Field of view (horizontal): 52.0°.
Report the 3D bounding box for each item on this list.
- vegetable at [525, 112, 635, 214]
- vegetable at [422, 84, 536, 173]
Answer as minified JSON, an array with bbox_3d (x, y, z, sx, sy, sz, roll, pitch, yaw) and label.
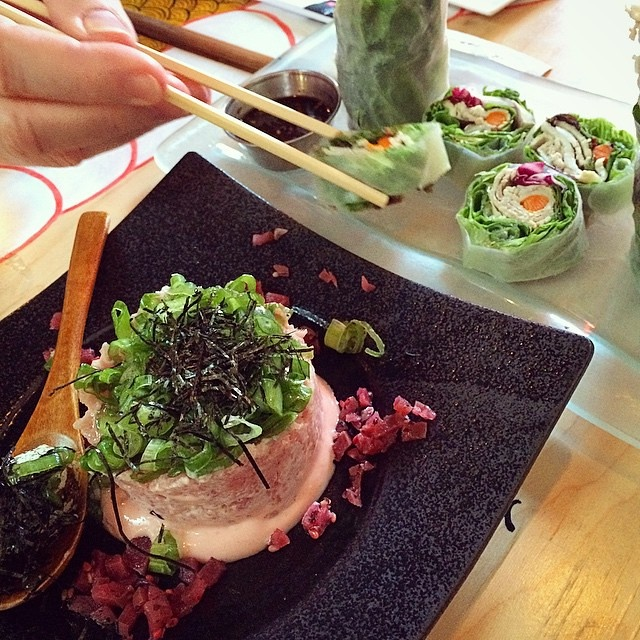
[{"bbox_3d":[0.696,-0.426,1.792,0.300,0.134,0.268,-9,58,-2],"label":"vegetable"},{"bbox_3d":[0.491,-0.547,1.861,0.263,0.176,0.123,10,14,35],"label":"vegetable"}]
